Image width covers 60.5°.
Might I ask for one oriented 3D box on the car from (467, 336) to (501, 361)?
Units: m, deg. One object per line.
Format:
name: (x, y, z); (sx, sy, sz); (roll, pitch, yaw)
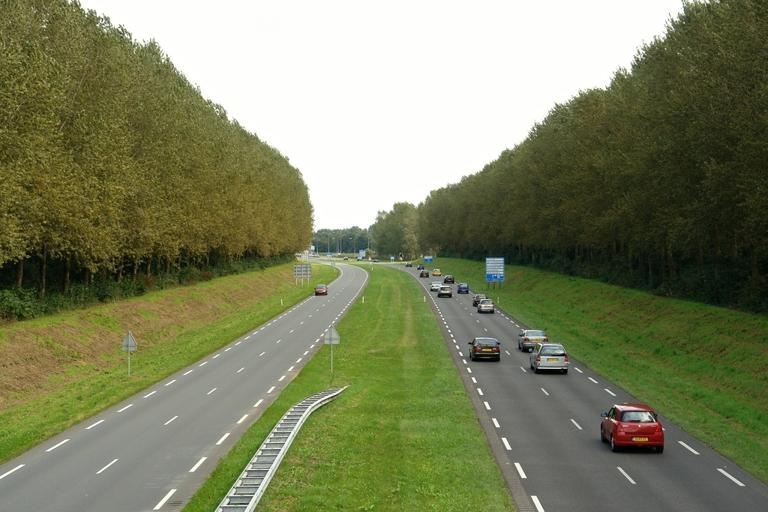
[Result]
car: (8.496, 7.957, 55.528); (2.378, 1.863, 1.634); (2, 8, 21)

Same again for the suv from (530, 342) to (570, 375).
suv: (12.909, 7.985, 52.087); (1.693, 1.527, 2.923); (0, 9, 2)
